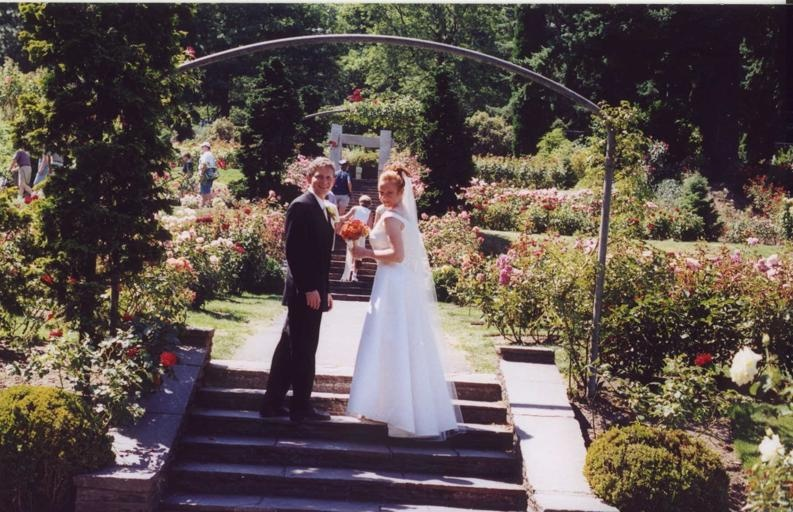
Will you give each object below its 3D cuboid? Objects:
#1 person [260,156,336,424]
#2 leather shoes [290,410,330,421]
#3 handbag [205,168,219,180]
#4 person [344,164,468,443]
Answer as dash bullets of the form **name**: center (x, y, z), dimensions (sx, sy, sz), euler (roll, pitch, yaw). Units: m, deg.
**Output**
- **person**: center (-1.116, 0.416, 9.012), dimensions (0.777, 3.215, 0.369), euler (3, 3, -10)
- **leather shoes**: center (-1.068, 1.920, 9.201), dimensions (0.488, 0.216, 0.182), euler (1, 0, -9)
- **handbag**: center (-4.531, -1.989, 18.474), dimensions (0.330, 0.257, 0.484), euler (-7, -11, -12)
- **person**: center (0.087, 0.581, 9.174), dimensions (1.320, 3.328, 0.567), euler (4, 3, -3)
